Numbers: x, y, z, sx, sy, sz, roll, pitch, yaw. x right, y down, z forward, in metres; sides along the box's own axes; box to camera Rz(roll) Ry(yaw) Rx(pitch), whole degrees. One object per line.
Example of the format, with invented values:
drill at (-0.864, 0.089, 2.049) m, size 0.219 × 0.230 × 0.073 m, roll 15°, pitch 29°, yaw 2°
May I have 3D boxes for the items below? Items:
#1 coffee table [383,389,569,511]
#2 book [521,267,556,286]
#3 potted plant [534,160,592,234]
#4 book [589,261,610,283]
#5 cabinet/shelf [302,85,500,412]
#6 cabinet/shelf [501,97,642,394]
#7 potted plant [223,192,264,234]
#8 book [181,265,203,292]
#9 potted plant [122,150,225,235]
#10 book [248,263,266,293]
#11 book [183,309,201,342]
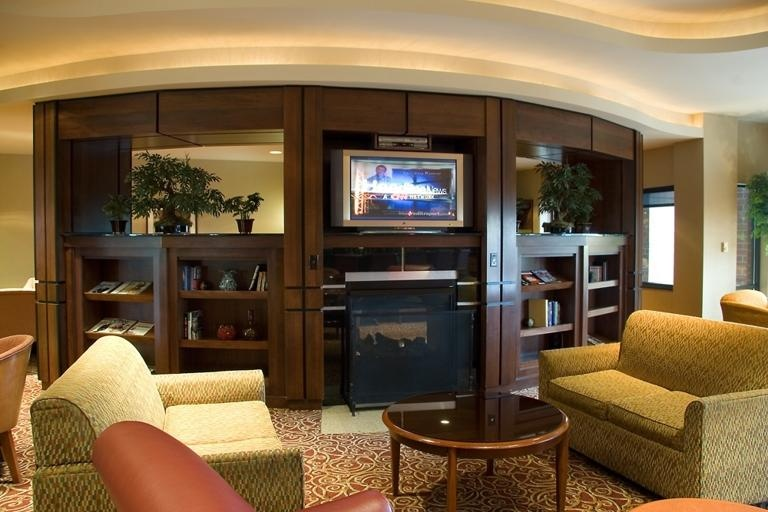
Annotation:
coffee table at (0.786, 1.368, 4.736) m, size 1.058 × 0.481 × 1.009 m, roll 1°, pitch -5°, yaw -22°
book at (1.949, 0.256, 7.390) m, size 0.677 × 0.178 × 0.267 m, roll -3°, pitch 2°, yaw -38°
potted plant at (2.265, -0.692, 7.625) m, size 0.589 × 0.786 × 0.679 m, roll -14°, pitch 10°, yaw -9°
book at (2.969, 0.224, 8.077) m, size 0.155 × 0.256 × 0.286 m, roll 10°, pitch 10°, yaw 29°
cabinet/shelf at (0.486, -0.104, 6.574) m, size 2.088 × 3.423 × 0.840 m, roll -3°, pitch 3°, yaw -28°
cabinet/shelf at (2.796, 0.117, 7.812) m, size 0.914 × 3.169 × 2.516 m, roll 18°, pitch -16°, yaw -27°
potted plant at (-1.573, -0.472, 6.565) m, size 0.464 × 0.429 × 0.317 m, roll -6°, pitch -4°, yaw -16°
book at (-2.164, 0.255, 6.607) m, size 0.280 × 0.349 × 0.274 m, roll 1°, pitch 0°, yaw 7°
potted plant at (-2.338, -0.699, 6.614) m, size 1.169 × 0.890 × 0.933 m, roll 12°, pitch 30°, yaw 37°
book at (-1.391, 0.232, 6.532) m, size 0.065 × 0.251 × 0.266 m, roll 12°, pitch -12°, yaw -28°
book at (-2.162, 0.780, 6.563) m, size 0.124 × 0.313 × 0.349 m, roll -1°, pitch -4°, yaw 5°
